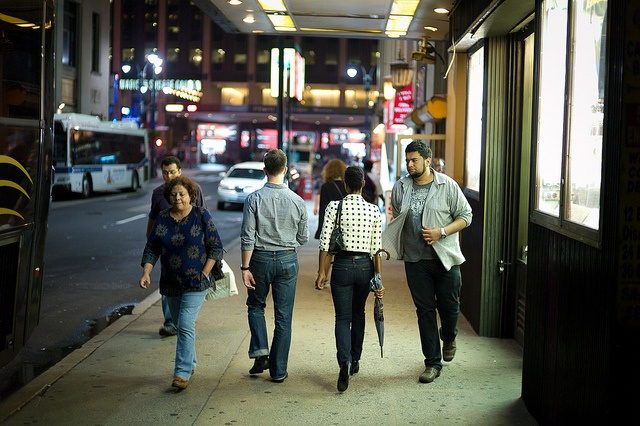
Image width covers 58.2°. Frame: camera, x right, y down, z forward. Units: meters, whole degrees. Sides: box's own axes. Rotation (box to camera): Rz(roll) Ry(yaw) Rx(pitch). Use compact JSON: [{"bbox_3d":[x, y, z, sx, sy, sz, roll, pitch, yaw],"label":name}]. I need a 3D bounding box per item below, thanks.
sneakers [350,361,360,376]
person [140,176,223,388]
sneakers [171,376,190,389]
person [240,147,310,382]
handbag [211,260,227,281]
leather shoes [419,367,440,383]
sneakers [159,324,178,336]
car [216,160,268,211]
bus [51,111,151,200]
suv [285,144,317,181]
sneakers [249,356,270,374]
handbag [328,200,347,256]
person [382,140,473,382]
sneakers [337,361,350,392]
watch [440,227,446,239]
[{"bbox_3d":[0.391,1.792,6.602,0.066,0.077,0.200,3,44,6],"label":"sneakers"},{"bbox_3d":[-1.516,0.741,6.345,0.850,2.255,0.702,0,5,-5],"label":"person"},{"bbox_3d":[-1.488,1.823,6.156,0.085,0.091,0.209,15,5,6],"label":"sneakers"},{"bbox_3d":[-0.515,0.591,6.493,0.734,2.582,0.444,0,5,-2],"label":"person"},{"bbox_3d":[-1.164,0.667,6.655,0.155,0.227,0.078,-1,0,15],"label":"handbag"},{"bbox_3d":[1.211,1.822,6.433,0.098,0.117,0.277,1,-3,26],"label":"leather shoes"},{"bbox_3d":[-2.069,1.628,7.919,0.289,0.143,0.106,16,-9,-39],"label":"sneakers"},{"bbox_3d":[-3.270,-1.234,25.162,1.726,1.471,4.074,-1,2,4],"label":"car"},{"bbox_3d":[-11.642,-3.030,31.126,1.027,4.340,10.692,0,7,3],"label":"bus"},{"bbox_3d":[-1.301,-2.706,39.059,1.490,2.708,2.430,3,-24,-6],"label":"suv"},{"bbox_3d":[-0.686,1.741,6.545,0.111,0.173,0.335,7,-30,-28],"label":"sneakers"},{"bbox_3d":[0.198,0.176,6.333,0.204,0.597,0.168,-4,6,-35],"label":"handbag"},{"bbox_3d":[1.233,0.528,6.629,0.933,2.689,0.758,1,5,12],"label":"person"},{"bbox_3d":[0.248,1.761,6.128,0.109,0.332,0.133,3,-3,7],"label":"sneakers"},{"bbox_3d":[1.349,0.233,6.351,0.033,0.104,0.073,-3,5,-5],"label":"watch"}]
